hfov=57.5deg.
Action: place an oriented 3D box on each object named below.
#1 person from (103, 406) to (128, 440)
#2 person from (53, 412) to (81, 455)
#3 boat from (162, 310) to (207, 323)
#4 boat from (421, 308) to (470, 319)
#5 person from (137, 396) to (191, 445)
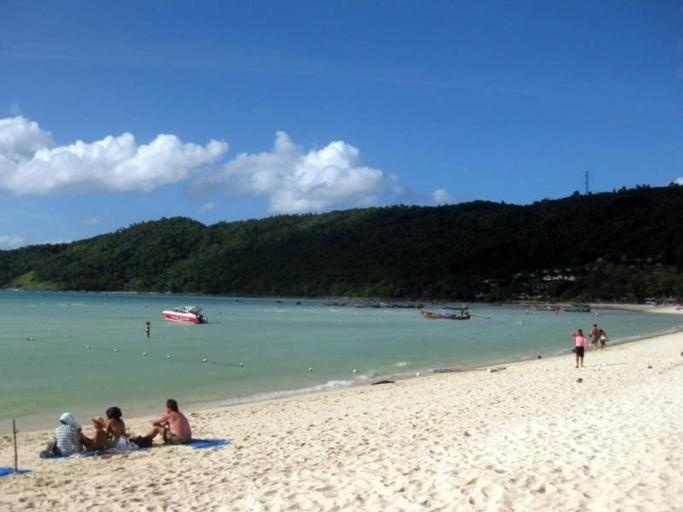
[{"bbox_3d":[-5.529,4.072,15.076,0.581,0.783,0.587,-8,-8,34],"label":"person"},{"bbox_3d":[-6.426,4.165,14.560,0.544,0.970,0.553,-3,-3,-24],"label":"person"},{"bbox_3d":[-15.026,5.696,58.391,5.332,0.949,1.631,5,7,35],"label":"boat"},{"bbox_3d":[13.122,7.252,78.312,5.322,1.428,1.987,1,-6,18],"label":"boat"},{"bbox_3d":[-4.444,4.194,15.627,1.332,1.113,0.878,-1,-10,29],"label":"person"}]
